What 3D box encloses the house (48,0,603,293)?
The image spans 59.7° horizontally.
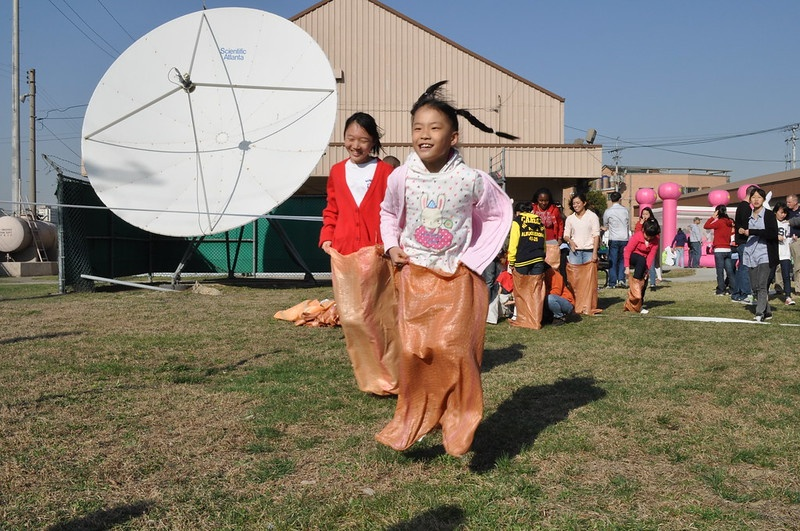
[{"bbox_3d":[0.108,-4.198,21.812,9.989,6.834,10.714,0,12,0],"label":"house"}]

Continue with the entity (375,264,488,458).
[{"bbox_3d":[0.287,0.711,5.518,0.760,1.376,0.553,3,13,9],"label":"entity"}]

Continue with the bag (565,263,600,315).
[{"bbox_3d":[2.900,0.344,10.957,0.593,0.810,0.627,-9,9,-17],"label":"bag"}]

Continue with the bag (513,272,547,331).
[{"bbox_3d":[1.840,0.483,9.835,0.490,0.789,0.616,-6,9,-28],"label":"bag"}]
